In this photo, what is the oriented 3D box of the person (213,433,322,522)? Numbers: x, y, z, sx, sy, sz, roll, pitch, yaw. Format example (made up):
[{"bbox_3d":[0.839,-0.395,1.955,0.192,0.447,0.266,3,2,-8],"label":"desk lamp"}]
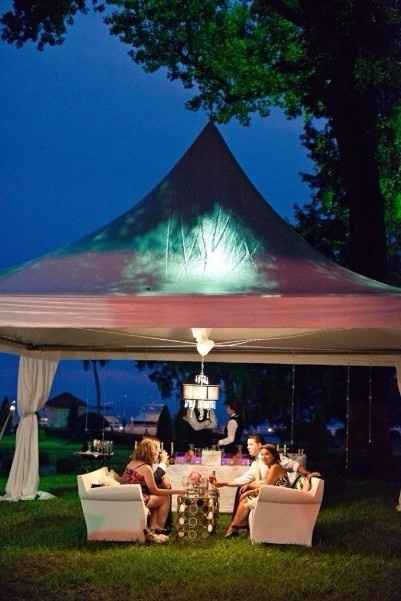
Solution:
[{"bbox_3d":[0.584,1.794,5.774,1.080,0.940,0.452,-10,-30,13],"label":"person"}]

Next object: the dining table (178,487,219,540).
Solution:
[{"bbox_3d":[-0.007,1.911,5.174,0.405,0.394,0.253,5,-11,-15],"label":"dining table"}]

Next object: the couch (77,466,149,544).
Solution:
[{"bbox_3d":[-0.742,1.751,5.107,0.548,0.538,0.840,-1,-7,-2],"label":"couch"}]

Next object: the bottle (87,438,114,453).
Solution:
[{"bbox_3d":[-1.358,1.983,7.963,0.250,0.180,0.217,0,-1,-8],"label":"bottle"}]
